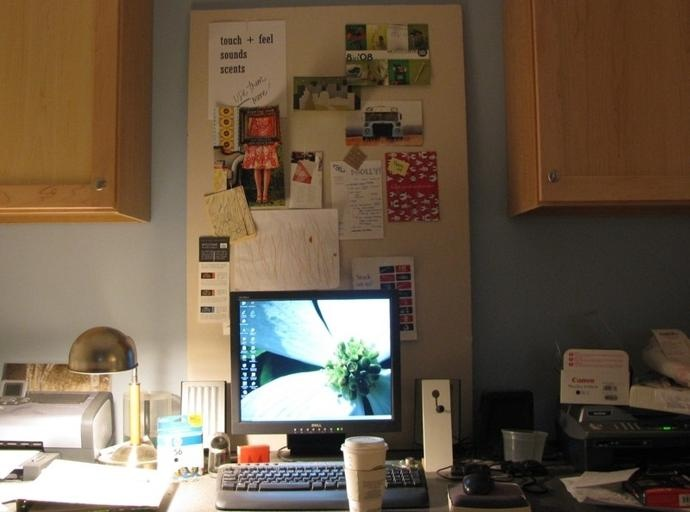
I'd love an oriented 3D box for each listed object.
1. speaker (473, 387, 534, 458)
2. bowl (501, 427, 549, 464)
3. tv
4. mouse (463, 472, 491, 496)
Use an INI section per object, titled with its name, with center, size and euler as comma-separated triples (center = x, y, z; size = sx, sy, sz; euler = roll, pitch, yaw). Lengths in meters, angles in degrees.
[speaker]
center = 0.562, 0.584, 2.438
size = 0.206, 0.289, 0.196
euler = 3, -5, 4
[bowl]
center = 0.611, 0.663, 2.323
size = 0.173, 0.143, 0.182
euler = 8, -12, 2
[tv]
center = -0.093, 0.366, 2.222
size = 0.490, 0.535, 0.169
euler = -1, -9, 0
[mouse]
center = 0.391, 0.674, 1.993
size = 0.056, 0.037, 0.060
euler = 1, -1, -4
